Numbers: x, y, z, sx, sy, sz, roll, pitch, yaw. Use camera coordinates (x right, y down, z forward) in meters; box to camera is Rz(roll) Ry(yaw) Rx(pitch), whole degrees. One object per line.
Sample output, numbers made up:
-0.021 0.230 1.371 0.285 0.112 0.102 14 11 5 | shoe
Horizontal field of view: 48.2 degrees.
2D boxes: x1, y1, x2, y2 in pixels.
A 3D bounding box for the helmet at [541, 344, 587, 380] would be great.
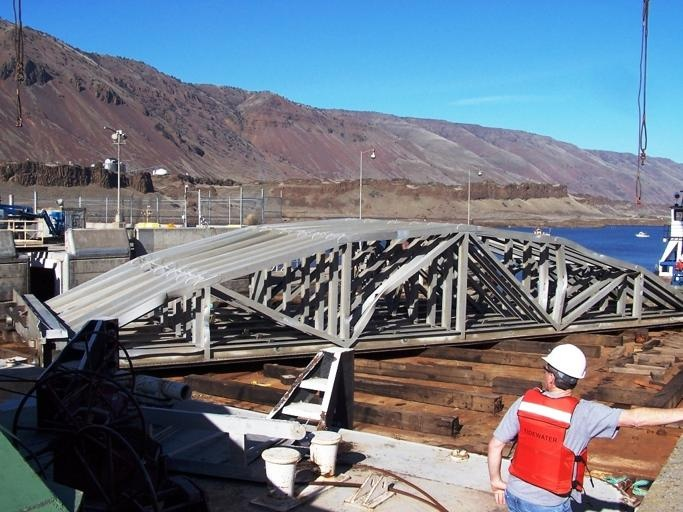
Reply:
2.239 1.056 7.786 0.369 0.203 0.418 3 25 -40 | helmet
